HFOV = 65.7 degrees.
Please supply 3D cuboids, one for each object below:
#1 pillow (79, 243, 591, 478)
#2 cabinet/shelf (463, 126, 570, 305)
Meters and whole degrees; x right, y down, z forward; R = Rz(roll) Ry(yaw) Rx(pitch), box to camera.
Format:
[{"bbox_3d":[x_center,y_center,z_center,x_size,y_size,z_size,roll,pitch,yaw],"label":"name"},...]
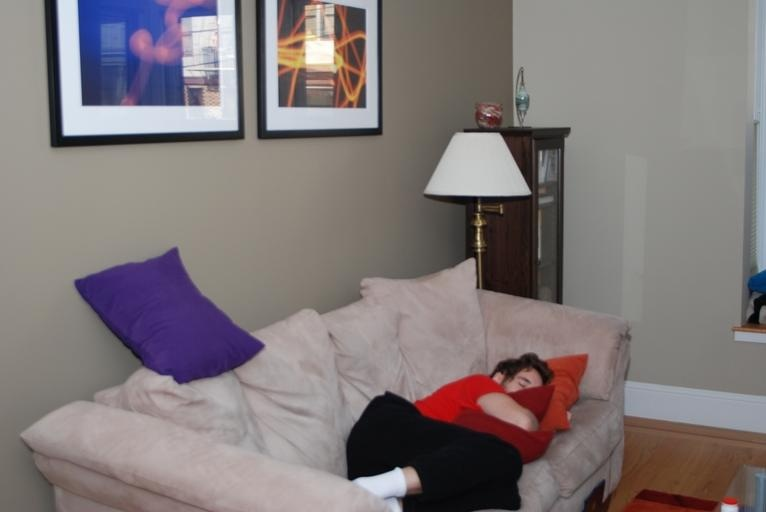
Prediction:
[{"bbox_3d":[-0.166,0.466,2.152,1.468,0.609,0.807,11,39,12],"label":"pillow"},{"bbox_3d":[0.877,-0.070,3.638,0.321,1.362,0.623,4,12,32],"label":"cabinet/shelf"}]
